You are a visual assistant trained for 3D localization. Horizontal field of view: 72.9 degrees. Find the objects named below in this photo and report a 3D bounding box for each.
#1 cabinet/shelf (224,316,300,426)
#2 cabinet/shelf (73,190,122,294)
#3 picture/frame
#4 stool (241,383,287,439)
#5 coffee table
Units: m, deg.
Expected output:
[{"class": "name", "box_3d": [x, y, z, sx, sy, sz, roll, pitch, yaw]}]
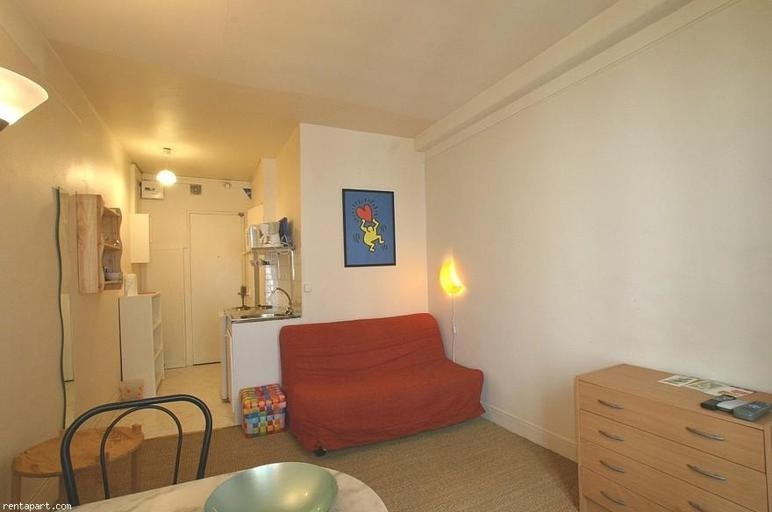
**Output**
[{"class": "cabinet/shelf", "box_3d": [-1.371, 1.126, 5.525, 0.992, 1.313, 0.960, 2, -5, -20]}, {"class": "cabinet/shelf", "box_3d": [-2.864, -0.133, 5.155, 0.396, 1.319, 1.132, -1, 1, -22]}, {"class": "picture/frame", "box_3d": [-0.236, -0.337, 5.989, 0.976, 1.230, 0.043, 0, -3, -27]}, {"class": "stool", "box_3d": [-1.228, 1.530, 5.206, 0.420, 0.338, 0.416, 1, -3, -30]}, {"class": "coffee table", "box_3d": [-2.205, 1.421, 3.887, 0.583, 0.709, 0.720, 7, 4, 15]}]
